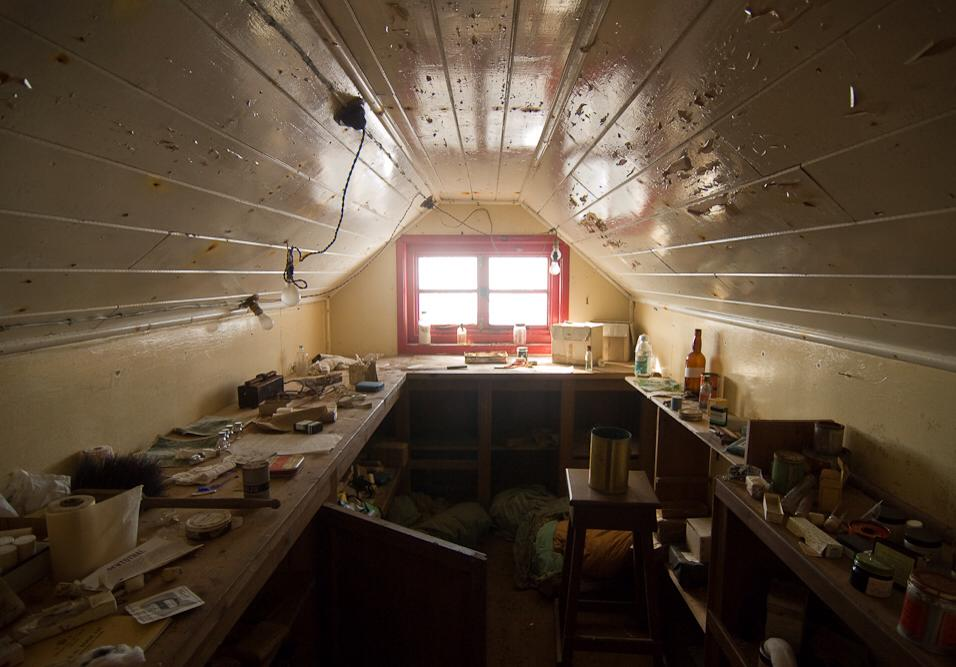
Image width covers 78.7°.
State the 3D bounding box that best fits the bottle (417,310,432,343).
[{"bbox_3d":[-0.391,-0.048,4.309,0.094,0.189,0.160,1,1,-5],"label":"bottle"}]

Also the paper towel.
[{"bbox_3d":[-1.132,0.553,1.719,0.154,0.271,0.271,7,11,13],"label":"paper towel"}]

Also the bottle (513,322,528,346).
[{"bbox_3d":[0.340,0.020,4.263,0.131,0.188,0.131,0,-1,0],"label":"bottle"}]

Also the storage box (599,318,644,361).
[{"bbox_3d":[0.984,0.046,3.985,0.267,0.261,0.263,1,-1,6],"label":"storage box"}]

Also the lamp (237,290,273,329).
[{"bbox_3d":[-1.126,-0.121,2.921,0.176,0.100,0.081,51,10,23],"label":"lamp"}]

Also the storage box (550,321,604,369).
[{"bbox_3d":[0.678,0.025,3.953,0.374,0.312,0.267,2,6,27],"label":"storage box"}]

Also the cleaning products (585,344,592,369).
[{"bbox_3d":[0.731,0.152,3.785,0.056,0.143,0.149,1,1,10],"label":"cleaning products"}]
